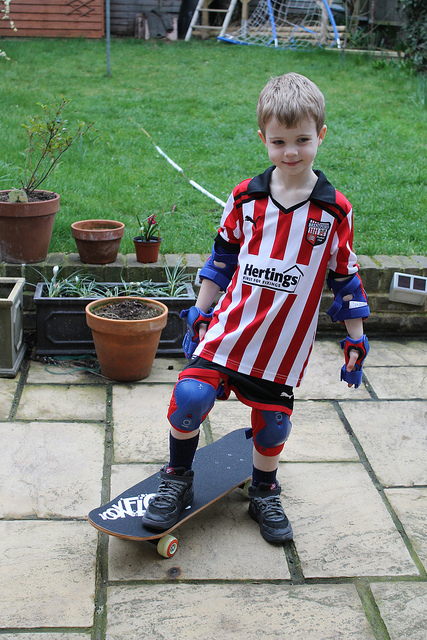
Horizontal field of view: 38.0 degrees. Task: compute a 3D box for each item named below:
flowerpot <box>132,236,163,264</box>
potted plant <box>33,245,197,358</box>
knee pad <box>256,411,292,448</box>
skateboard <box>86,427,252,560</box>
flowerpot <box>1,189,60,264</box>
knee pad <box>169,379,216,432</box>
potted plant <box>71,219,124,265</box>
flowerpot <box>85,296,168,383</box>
[{"bbox_3d":[-0.357,-0.404,3.525,0.173,0.110,0.159,0,7,-7],"label":"flowerpot"},{"bbox_3d":[-0.507,-0.029,3.402,0.865,0.407,0.422,0,4,2],"label":"potted plant"},{"bbox_3d":[0.178,0.327,1.889,0.072,0.122,0.099,31,33,33],"label":"knee pad"},{"bbox_3d":[-0.032,0.523,2.147,0.228,0.143,0.943,17,20,30],"label":"skateboard"},{"bbox_3d":[-1.018,-0.560,3.406,0.312,0.418,0.260,-11,32,-28],"label":"flowerpot"},{"bbox_3d":[-0.065,0.252,1.805,0.118,0.168,0.059,9,24,3],"label":"knee pad"},{"bbox_3d":[-0.664,-0.446,3.524,0.301,0.192,0.277,-2,10,-15],"label":"potted plant"},{"bbox_3d":[-0.423,0.094,3.115,0.438,0.334,0.443,19,22,35],"label":"flowerpot"}]
